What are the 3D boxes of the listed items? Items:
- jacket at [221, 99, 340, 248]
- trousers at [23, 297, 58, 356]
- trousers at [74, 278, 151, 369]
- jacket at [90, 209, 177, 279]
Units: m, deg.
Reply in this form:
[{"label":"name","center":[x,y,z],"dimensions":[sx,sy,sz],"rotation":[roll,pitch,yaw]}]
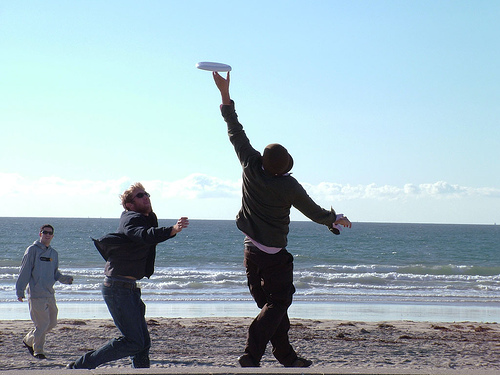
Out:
[{"label":"jacket","center":[0.385,-0.245,11.473],"dimensions":[1.735,2.543,0.526],"rotation":[-1,-3,0]},{"label":"trousers","center":[-4.127,2.785,13.474],"dimensions":[0.511,1.155,0.175],"rotation":[0,-3,-11]},{"label":"trousers","center":[-2.237,2.312,11.427],"dimensions":[1.070,1.516,0.396],"rotation":[0,-3,-14]},{"label":"jacket","center":[-2.083,0.905,11.816],"dimensions":[1.081,1.327,2.459],"rotation":[14,3,-19]}]
